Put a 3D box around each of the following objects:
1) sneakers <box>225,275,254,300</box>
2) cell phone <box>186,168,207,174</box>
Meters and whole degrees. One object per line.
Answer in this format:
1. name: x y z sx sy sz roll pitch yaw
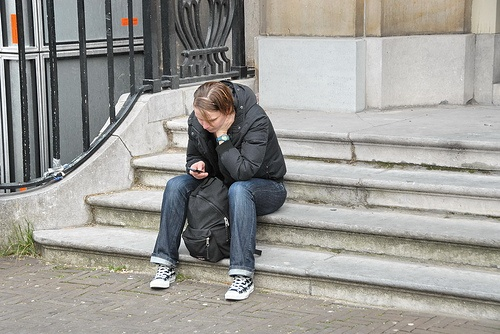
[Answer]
1. sneakers: -0.084 1.040 5.200 0.116 0.139 0.315 2 3 22
2. cell phone: -0.489 0.035 5.433 0.213 0.055 0.043 8 0 -7
